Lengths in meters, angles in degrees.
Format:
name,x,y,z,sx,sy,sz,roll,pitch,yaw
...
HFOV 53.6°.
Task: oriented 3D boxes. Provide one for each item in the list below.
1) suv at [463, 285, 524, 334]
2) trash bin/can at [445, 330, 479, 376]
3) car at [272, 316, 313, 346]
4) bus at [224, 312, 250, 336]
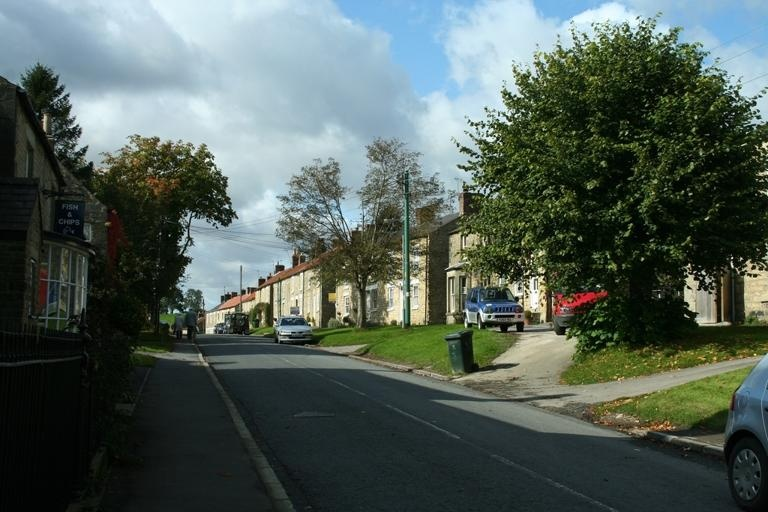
name,x,y,z,sx,sy,sz,roll,pitch,yaw
suv,5.320,2.630,37.941,1.660,1.537,3.070,2,-11,-14
trash bin/can,2.729,3.420,27.322,1.078,1.529,0.743,0,2,4
car,-5.869,4.839,49.069,2.088,1.624,2.335,-1,1,-16
bus,-15.425,7.637,82.727,2.602,2.580,4.086,3,-1,-21
